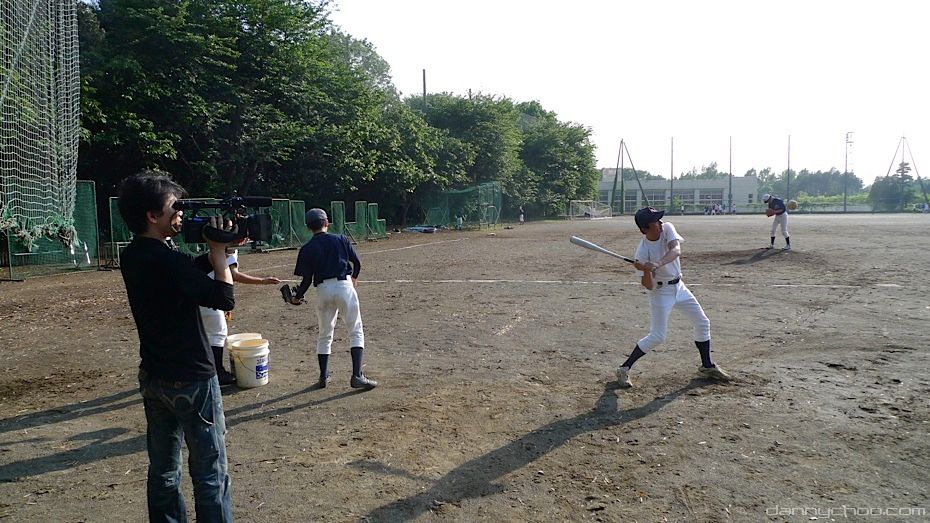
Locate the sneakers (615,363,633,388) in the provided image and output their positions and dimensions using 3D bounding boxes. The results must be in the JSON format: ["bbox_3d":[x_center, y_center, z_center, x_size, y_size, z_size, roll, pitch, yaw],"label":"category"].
[{"bbox_3d":[3.055,2.173,13.002,0.278,0.401,0.286,1,15,12],"label":"sneakers"}]

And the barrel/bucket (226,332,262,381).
[{"bbox_3d":[-4.509,1.860,13.514,0.914,0.779,0.842,-2,0,0],"label":"barrel/bucket"}]

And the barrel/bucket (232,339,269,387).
[{"bbox_3d":[-4.107,1.957,13.466,0.936,0.823,0.897,-1,3,0],"label":"barrel/bucket"}]

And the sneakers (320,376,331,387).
[{"bbox_3d":[-2.709,2.302,13.084,0.185,0.196,0.473,2,-8,-6],"label":"sneakers"}]

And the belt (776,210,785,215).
[{"bbox_3d":[11.493,-1.787,24.690,0.250,0.187,0.384,4,15,22],"label":"belt"}]
